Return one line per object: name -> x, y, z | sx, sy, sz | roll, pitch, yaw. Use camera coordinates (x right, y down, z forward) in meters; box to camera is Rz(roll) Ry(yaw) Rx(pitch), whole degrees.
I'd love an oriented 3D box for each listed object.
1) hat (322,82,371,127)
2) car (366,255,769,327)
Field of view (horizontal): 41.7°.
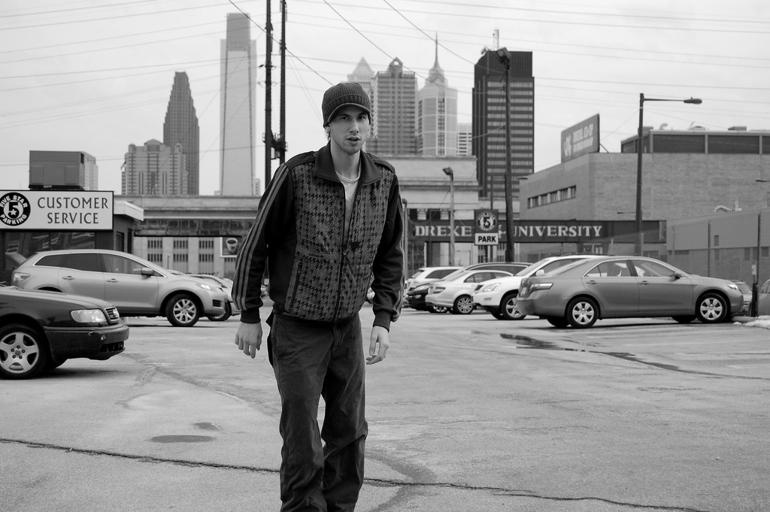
hat -> -0.279, -1.210, 8.136 | 0.332, 0.434, 0.436 | 0, -15, -12
car -> 5.042, 0.762, 23.242 | 5.635, 1.631, 3.471 | 0, -1, 35
